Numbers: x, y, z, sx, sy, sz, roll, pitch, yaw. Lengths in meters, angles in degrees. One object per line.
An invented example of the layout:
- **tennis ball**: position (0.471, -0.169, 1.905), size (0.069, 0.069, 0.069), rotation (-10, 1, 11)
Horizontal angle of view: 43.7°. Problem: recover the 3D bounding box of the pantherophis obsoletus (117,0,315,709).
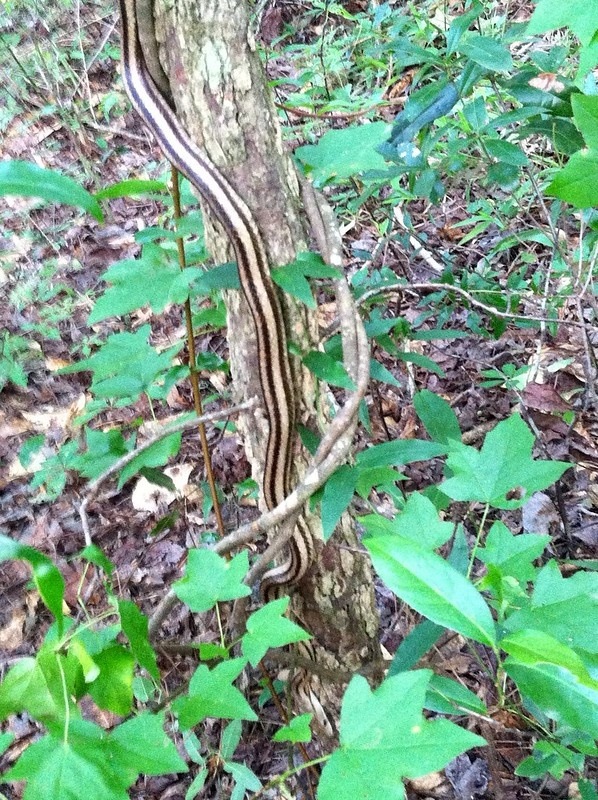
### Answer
- **pantherophis obsoletus**: position (-0.207, -0.371, 2.162), size (0.226, 1.485, 0.416), rotation (-19, 27, -4)
